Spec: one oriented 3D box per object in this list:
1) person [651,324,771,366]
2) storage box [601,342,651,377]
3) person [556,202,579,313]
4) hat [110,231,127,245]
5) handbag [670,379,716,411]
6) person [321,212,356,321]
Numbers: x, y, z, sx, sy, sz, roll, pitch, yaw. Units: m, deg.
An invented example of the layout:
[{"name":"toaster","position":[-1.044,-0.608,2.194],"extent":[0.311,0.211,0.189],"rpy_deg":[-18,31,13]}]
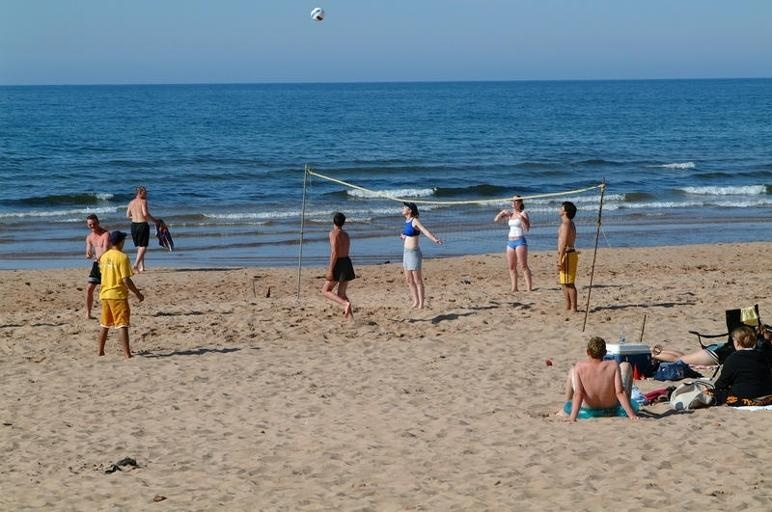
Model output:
[{"name":"person","position":[5.483,1.598,17.182],"extent":[1.689,0.476,0.876],"rpy_deg":[-7,17,26]},{"name":"storage box","position":[4.002,1.787,17.409],"extent":[0.885,0.479,0.530],"rpy_deg":[1,-9,-43]},{"name":"person","position":[3.464,-0.009,19.771],"extent":[0.359,2.142,1.026],"rpy_deg":[-2,15,10]},{"name":"hat","position":[-4.617,-0.345,17.880],"extent":[0.241,0.138,0.304],"rpy_deg":[13,34,29]},{"name":"handbag","position":[4.875,2.248,16.469],"extent":[0.668,0.397,0.316],"rpy_deg":[-5,13,-8]},{"name":"person","position":[-0.925,0.189,19.157],"extent":[0.573,2.028,0.595],"rpy_deg":[-6,15,-3]}]
